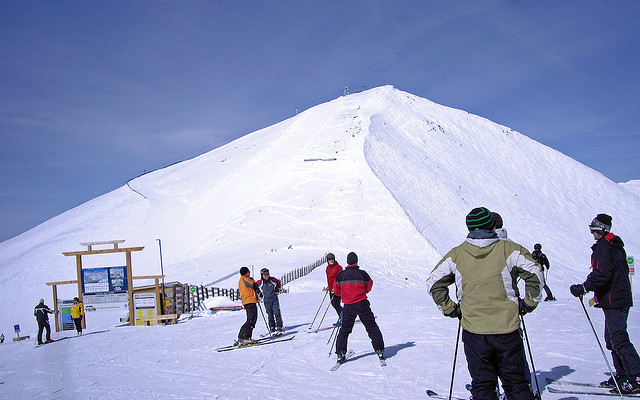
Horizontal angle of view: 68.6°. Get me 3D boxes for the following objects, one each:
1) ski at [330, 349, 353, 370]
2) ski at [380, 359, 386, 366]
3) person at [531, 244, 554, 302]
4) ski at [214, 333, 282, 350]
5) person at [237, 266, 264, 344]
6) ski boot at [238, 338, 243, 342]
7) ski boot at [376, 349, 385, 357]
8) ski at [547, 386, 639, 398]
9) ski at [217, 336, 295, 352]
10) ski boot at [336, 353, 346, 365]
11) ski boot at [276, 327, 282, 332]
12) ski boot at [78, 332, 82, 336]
[{"bbox_3d":[0.778,5.214,15.466,0.237,0.239,1.419,-1,6,16],"label":"ski"},{"bbox_3d":[1.975,5.117,14.784,0.140,0.034,0.148,-11,13,-6],"label":"ski"},{"bbox_3d":[9.545,3.096,20.591,1.052,2.376,0.867,-3,12,25],"label":"person"},{"bbox_3d":[-2.717,5.488,18.196,1.981,0.107,0.214,-15,30,-10],"label":"ski"},{"bbox_3d":[-2.717,4.054,18.180,0.935,2.974,0.995,-4,0,5],"label":"person"},{"bbox_3d":[-3.016,5.287,17.756,0.167,0.144,0.058,-4,0,-3],"label":"ski boot"},{"bbox_3d":[1.896,4.822,14.905,0.225,0.239,0.209,-4,0,0],"label":"ski boot"},{"bbox_3d":[7.393,5.160,12.636,2.070,0.163,0.286,-2,17,17],"label":"ski"},{"bbox_3d":[-2.868,5.447,17.695,1.924,0.133,0.216,-4,6,-14],"label":"ski"},{"bbox_3d":[0.681,5.097,15.122,0.222,0.327,0.417,-4,0,27],"label":"ski boot"},{"bbox_3d":[-1.671,5.221,18.972,0.161,0.275,0.157,1,5,34],"label":"ski boot"},{"bbox_3d":[-12.083,6.737,23.642,0.177,0.157,0.410,-4,0,-30],"label":"ski boot"}]
